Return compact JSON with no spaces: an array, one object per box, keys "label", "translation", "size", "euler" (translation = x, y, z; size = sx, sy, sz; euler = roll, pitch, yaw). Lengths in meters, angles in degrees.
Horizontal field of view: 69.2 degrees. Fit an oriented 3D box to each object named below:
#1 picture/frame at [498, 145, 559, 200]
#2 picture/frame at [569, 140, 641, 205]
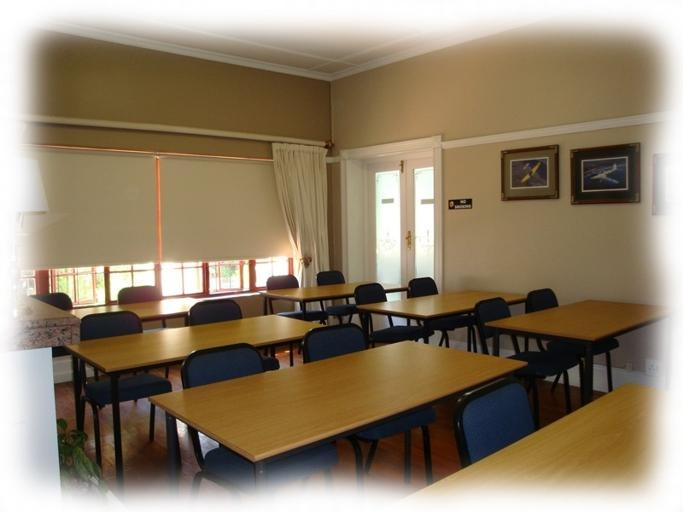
[{"label":"picture/frame","translation":[2.051,-0.906,5.357],"size":[0.623,0.591,0.063],"euler":[4,8,43]},{"label":"picture/frame","translation":[2.595,-0.817,4.823],"size":[0.664,0.629,0.065],"euler":[3,5,43]}]
